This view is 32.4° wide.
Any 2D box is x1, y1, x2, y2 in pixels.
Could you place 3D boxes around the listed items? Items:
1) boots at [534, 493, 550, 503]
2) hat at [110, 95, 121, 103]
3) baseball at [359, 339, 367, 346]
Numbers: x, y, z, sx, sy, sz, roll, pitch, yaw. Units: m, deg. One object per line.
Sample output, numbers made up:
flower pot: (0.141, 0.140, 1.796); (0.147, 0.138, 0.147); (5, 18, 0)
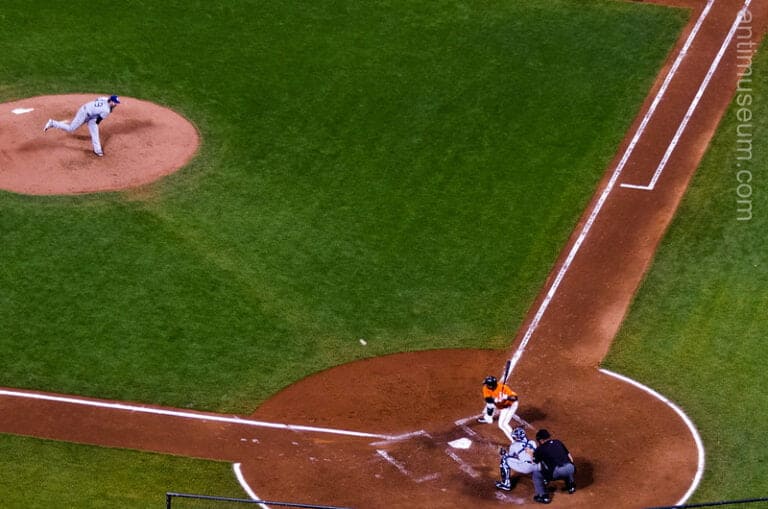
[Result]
boots: (5.099, 7.855, 42.806); (0.498, 0.282, 0.225); (14, 30, 22)
hat: (-10.738, -6.128, 52.344); (0.447, 0.200, 0.290); (23, 17, 11)
baseball: (-0.788, 3.170, 48.001); (0.146, 0.082, 0.250); (-18, 35, -24)
